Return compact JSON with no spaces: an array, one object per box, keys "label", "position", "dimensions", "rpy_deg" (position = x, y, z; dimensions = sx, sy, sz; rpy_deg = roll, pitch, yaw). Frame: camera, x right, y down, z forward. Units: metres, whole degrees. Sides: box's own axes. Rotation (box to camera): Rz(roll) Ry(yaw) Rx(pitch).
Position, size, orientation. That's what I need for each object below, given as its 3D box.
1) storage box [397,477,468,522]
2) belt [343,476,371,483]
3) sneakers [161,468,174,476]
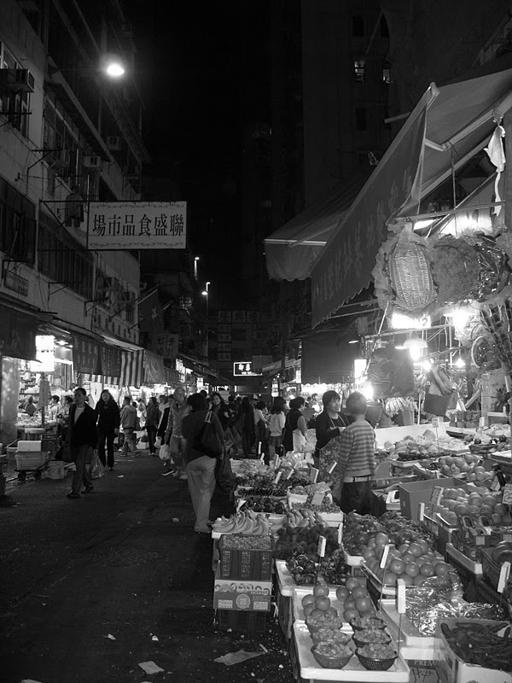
[{"label":"storage box","position":[1.527,1.364,5.411],"dimensions":[0.326,0.281,0.389],"rpy_deg":[-3,-4,9]},{"label":"belt","position":[1.118,1.535,7.001],"dimensions":[0.273,0.082,0.096],"rpy_deg":[-1,-5,8]},{"label":"sneakers","position":[-2.302,3.454,16.532],"dimensions":[0.349,0.188,0.139],"rpy_deg":[5,-10,-28]}]
